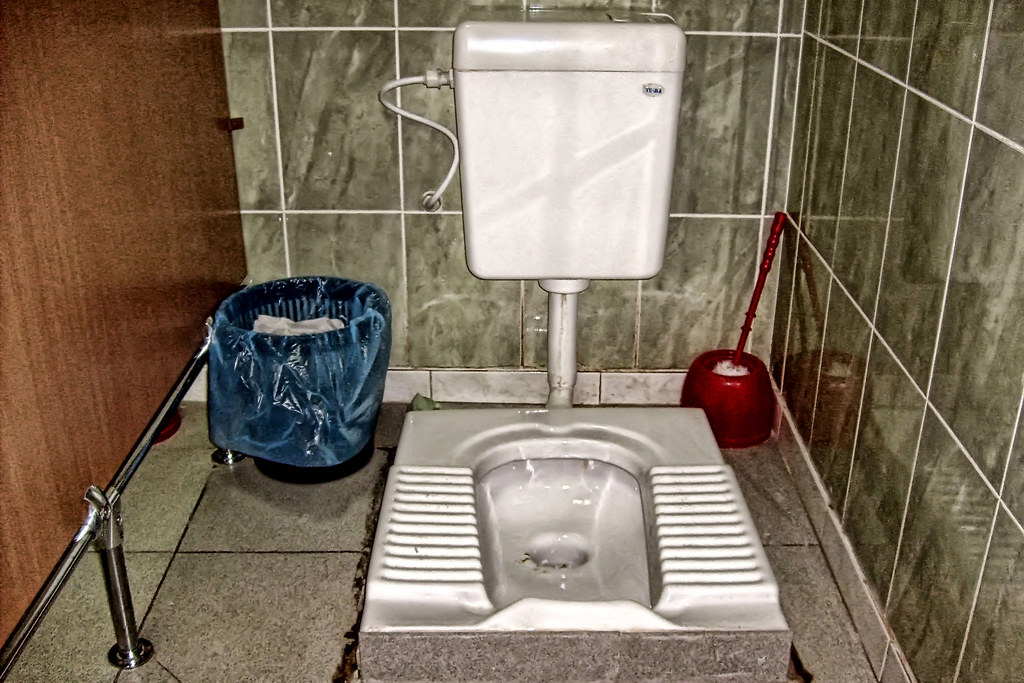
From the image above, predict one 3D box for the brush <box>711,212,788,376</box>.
[{"bbox_3d":[0.650,-0.130,2.294,0.117,0.422,0.263,10,24,20],"label":"brush"}]
